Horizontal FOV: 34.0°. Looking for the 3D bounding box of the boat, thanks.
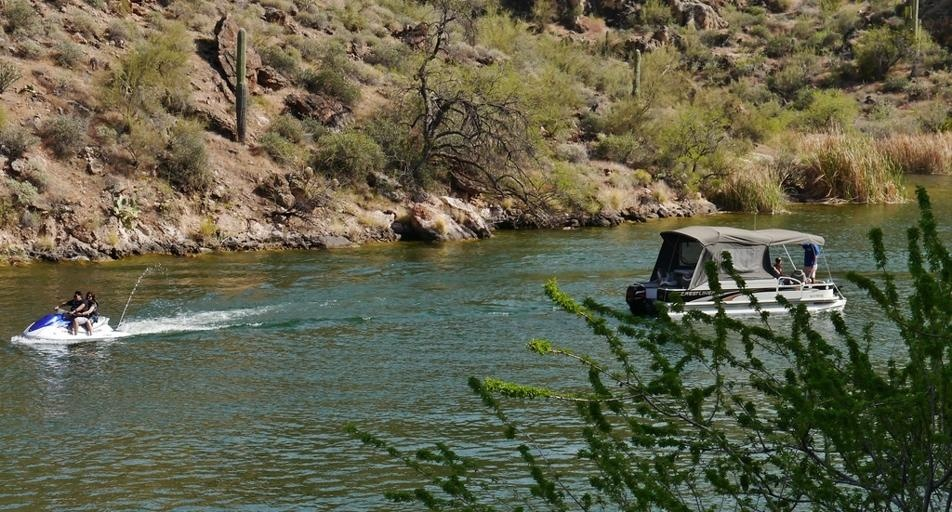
[{"bbox_3d":[13.007,0.766,79.790,10.068,3.241,5.076,-2,6,-16],"label":"boat"}]
